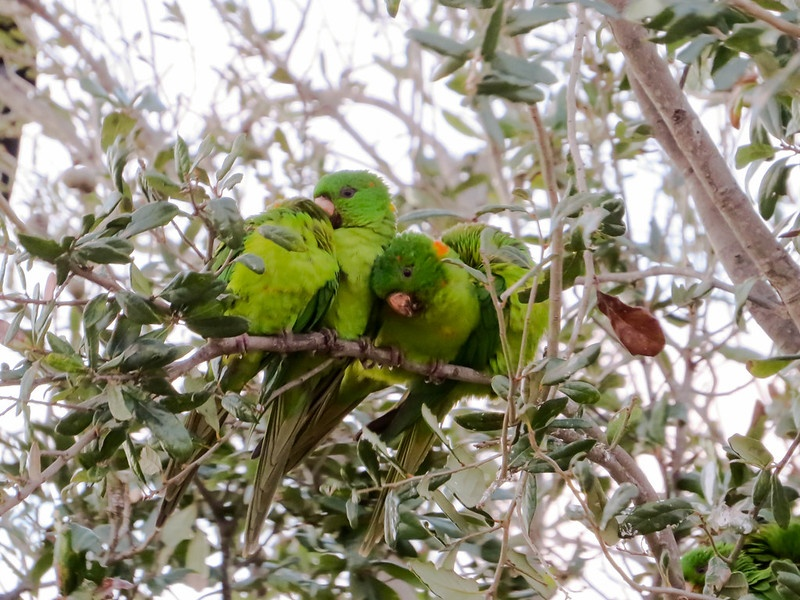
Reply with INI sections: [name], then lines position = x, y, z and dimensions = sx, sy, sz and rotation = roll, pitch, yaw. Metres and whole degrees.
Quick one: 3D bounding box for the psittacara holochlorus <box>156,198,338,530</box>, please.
[psittacara holochlorus]
position = -0.444, 0.142, 2.744
dimensions = 0.407, 1.023, 0.462
rotation = -17, -33, 30
